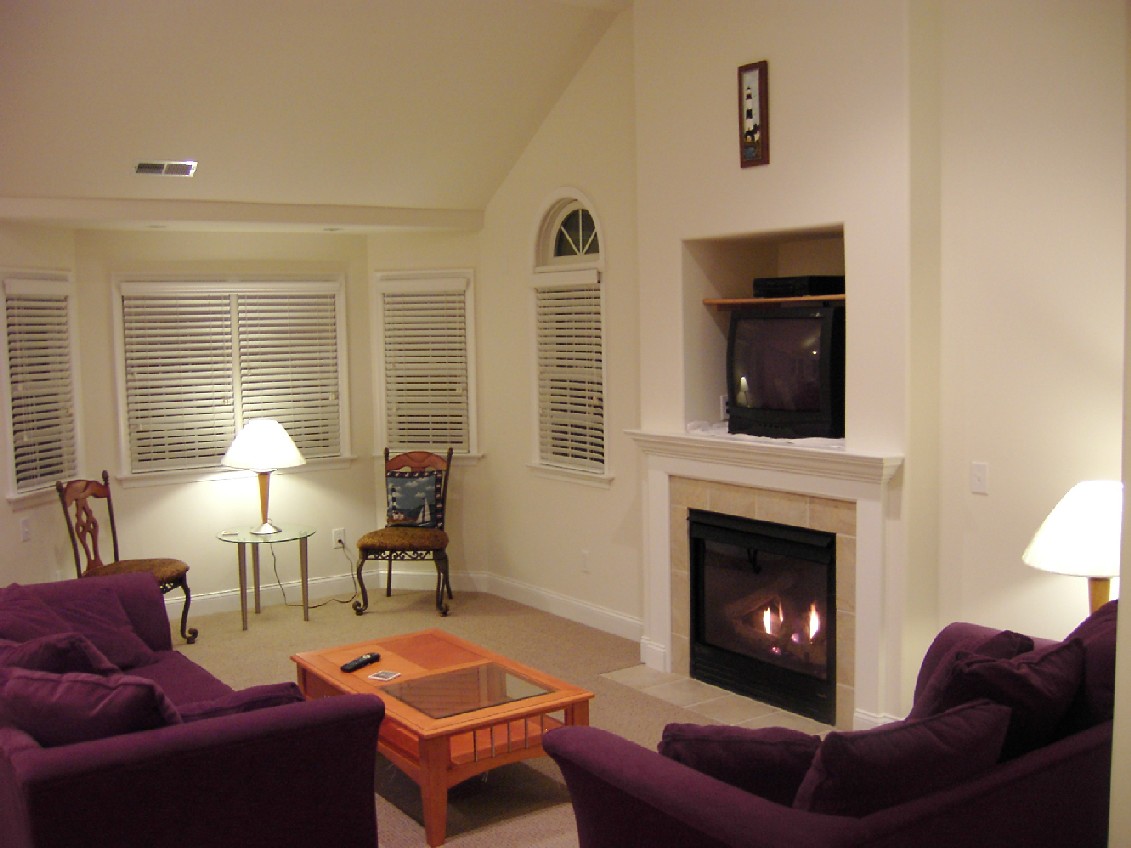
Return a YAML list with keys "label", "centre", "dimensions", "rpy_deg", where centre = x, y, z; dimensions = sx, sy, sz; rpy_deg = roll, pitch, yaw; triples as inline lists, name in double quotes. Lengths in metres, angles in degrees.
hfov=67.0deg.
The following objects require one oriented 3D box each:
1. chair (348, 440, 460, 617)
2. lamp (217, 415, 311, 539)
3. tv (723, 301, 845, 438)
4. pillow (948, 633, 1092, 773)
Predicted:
- label: "chair"
  centre: [-1.217, 0.831, 6.732]
  dimensions: [0.700, 1.212, 0.708]
  rpy_deg: [1, 1, 5]
- label: "lamp"
  centre: [-2.355, 0.390, 6.581]
  dimensions: [0.541, 0.861, 0.576]
  rpy_deg: [-4, 4, -31]
- label: "tv"
  centre: [1.264, -0.312, 4.811]
  dimensions: [0.416, 0.741, 0.679]
  rpy_deg: [-7, 9, -41]
- label: "pillow"
  centre: [1.410, 0.820, 2.581]
  dimensions: [0.173, 0.360, 0.339]
  rpy_deg: [5, 9, -43]
